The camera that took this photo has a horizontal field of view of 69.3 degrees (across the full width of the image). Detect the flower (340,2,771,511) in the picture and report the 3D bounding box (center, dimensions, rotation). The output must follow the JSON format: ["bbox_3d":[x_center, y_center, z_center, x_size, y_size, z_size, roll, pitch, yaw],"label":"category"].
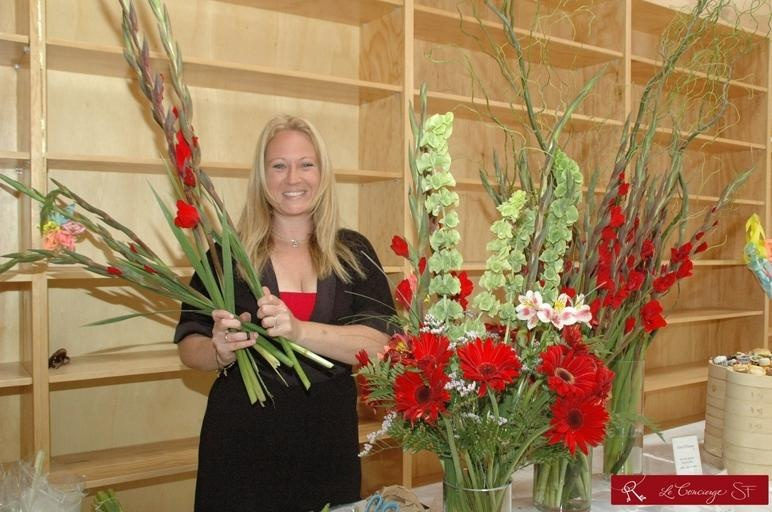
[{"bbox_3d":[0.381,-0.111,1.398,0.911,1.428,0.487,0,-2,-41],"label":"flower"}]

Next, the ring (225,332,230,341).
[{"bbox_3d":[-0.489,0.246,1.714,0.015,0.021,0.008,-2,-12,10],"label":"ring"}]
